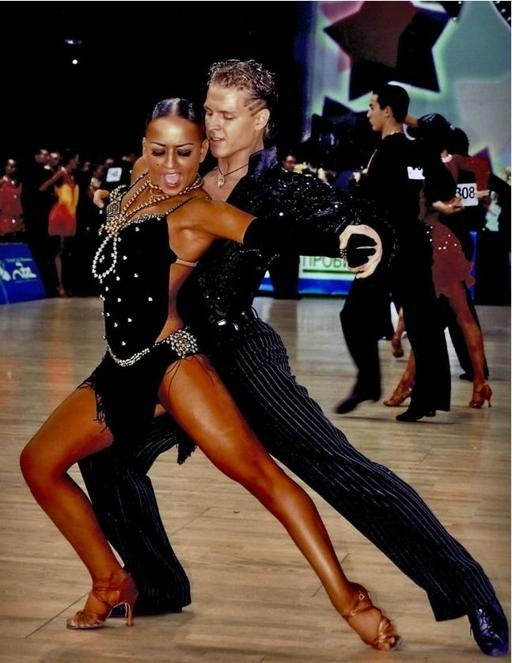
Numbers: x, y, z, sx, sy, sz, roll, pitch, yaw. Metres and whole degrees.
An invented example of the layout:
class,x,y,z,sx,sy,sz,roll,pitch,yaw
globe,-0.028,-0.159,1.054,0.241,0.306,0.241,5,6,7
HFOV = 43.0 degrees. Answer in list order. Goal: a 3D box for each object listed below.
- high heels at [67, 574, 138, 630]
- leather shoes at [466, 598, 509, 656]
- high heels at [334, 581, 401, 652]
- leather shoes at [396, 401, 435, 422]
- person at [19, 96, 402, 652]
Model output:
class,x,y,z,sx,sy,sz,roll,pitch,yaw
high heels,-0.360,0.646,1.589,0.188,0.122,0.086,-8,-5,33
leather shoes,0.516,0.647,1.454,0.084,0.135,0.053,-24,11,15
high heels,0.248,0.615,1.424,0.091,0.211,0.056,-44,24,8
leather shoes,1.066,0.537,4.346,0.276,0.093,0.128,-1,1,-7
person,-0.134,0.125,1.403,0.718,1.191,0.405,0,-1,28
